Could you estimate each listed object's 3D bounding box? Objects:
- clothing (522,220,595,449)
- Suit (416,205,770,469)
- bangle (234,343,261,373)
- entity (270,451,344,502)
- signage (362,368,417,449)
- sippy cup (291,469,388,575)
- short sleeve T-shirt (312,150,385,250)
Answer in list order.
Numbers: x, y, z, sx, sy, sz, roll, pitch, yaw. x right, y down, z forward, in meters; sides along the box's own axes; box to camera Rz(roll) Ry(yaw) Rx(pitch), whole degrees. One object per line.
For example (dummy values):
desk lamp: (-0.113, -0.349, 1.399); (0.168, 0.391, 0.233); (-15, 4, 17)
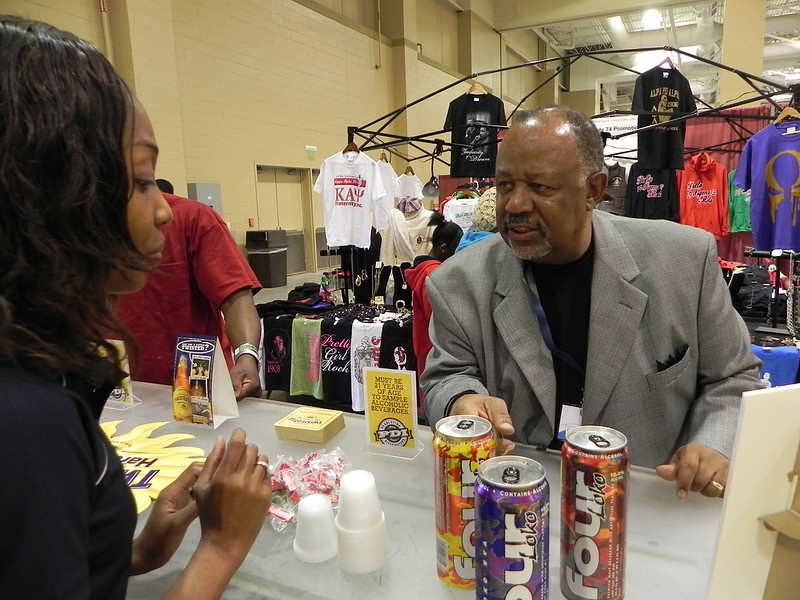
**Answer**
clothing: (0.486, 0.071, 1.611); (0.295, 0.552, 0.132); (-2, 2, 39)
Suit: (0.606, 0.108, 1.793); (0.959, 0.999, 0.742); (4, 5, 33)
bangle: (-0.555, 0.210, 1.972); (0.090, 0.090, 0.065); (2, 30, -18)
entity: (-0.226, 0.436, 1.318); (0.108, 0.037, 0.104); (3, 18, -23)
signage: (-0.027, 0.301, 1.469); (0.216, 0.301, 0.013); (0, 0, 25)
sippy cup: (-0.100, 0.433, 1.132); (0.231, 0.199, 0.131); (5, 8, 27)
short sleeve T-shirt: (-0.558, -1.124, 6.014); (0.790, 1.096, 0.448); (-4, 10, -4)
